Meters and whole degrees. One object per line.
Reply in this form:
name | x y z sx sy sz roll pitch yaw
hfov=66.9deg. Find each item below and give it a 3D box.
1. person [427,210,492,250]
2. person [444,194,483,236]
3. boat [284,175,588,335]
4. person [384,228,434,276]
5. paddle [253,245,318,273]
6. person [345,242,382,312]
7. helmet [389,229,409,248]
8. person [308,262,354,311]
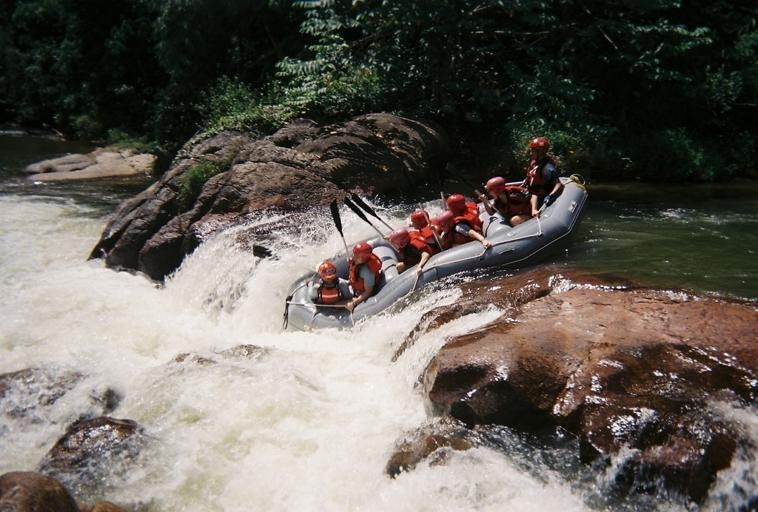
person | 1.487 -0.540 10.687 0.847 0.913 0.408 17 -25 -18
person | 1.727 -0.793 10.674 0.828 0.333 0.639 36 32 -20
boat | 1.186 0.195 10.207 5.080 0.884 2.853 -26 12 6
person | 0.616 0.028 10.336 0.951 0.864 0.654 8 14 -1
paddle | -2.127 0.031 12.046 0.944 0.238 0.632 7 47 -22
person | -0.197 0.415 10.219 0.588 1.230 0.653 2 45 -15
helmet | 0.486 -0.322 10.412 0.406 0.266 0.316 13 5 28
person | -0.812 0.565 10.265 0.742 0.680 0.880 1 39 -5
